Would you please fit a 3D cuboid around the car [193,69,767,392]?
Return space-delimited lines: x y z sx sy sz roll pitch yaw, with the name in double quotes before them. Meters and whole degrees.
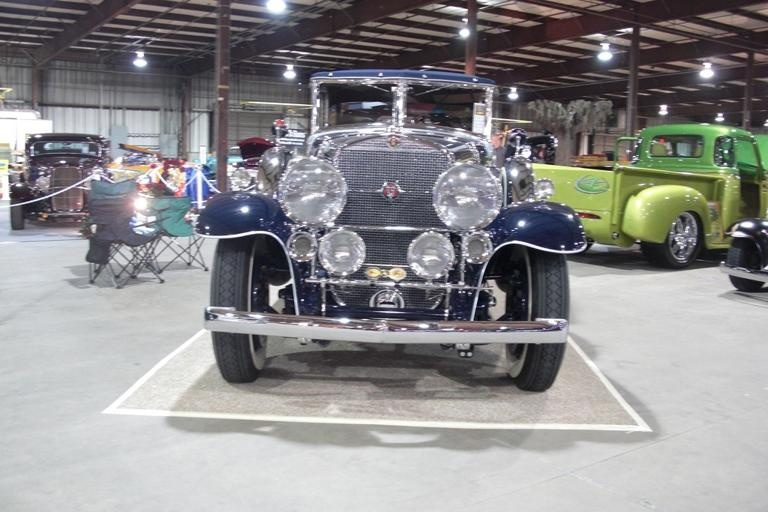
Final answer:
"car" 0.141 -0.281 4.359 2.641 2.474 2.244 3 10 9

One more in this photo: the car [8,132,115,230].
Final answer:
"car" -7.944 -1.767 13.427 2.817 1.236 3.775 0 2 -27
